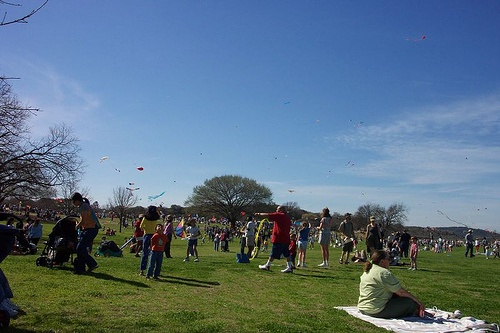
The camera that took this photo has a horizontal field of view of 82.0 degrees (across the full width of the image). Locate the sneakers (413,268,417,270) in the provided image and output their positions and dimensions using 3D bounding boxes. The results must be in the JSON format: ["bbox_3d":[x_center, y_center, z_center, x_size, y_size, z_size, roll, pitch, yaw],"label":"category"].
[{"bbox_3d":[9.018,5.644,15.763,0.242,0.070,0.056,-13,19,8],"label":"sneakers"}]

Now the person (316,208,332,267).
[{"bbox_3d":[3.817,3.794,15.610,1.095,3.040,0.993,-3,-13,35],"label":"person"}]

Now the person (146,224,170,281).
[{"bbox_3d":[-3.559,3.234,11.026,0.563,1.961,0.832,8,-13,-17],"label":"person"}]

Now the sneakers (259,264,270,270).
[{"bbox_3d":[0.715,4.816,13.703,0.524,0.222,0.219,2,-6,18],"label":"sneakers"}]

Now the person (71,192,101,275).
[{"bbox_3d":[-5.993,2.456,10.471,1.006,2.794,1.233,6,-13,-9],"label":"person"}]
